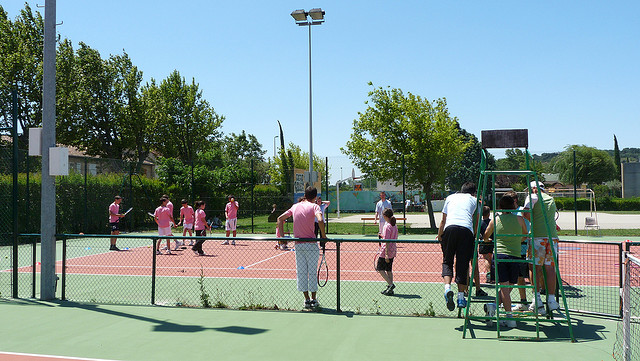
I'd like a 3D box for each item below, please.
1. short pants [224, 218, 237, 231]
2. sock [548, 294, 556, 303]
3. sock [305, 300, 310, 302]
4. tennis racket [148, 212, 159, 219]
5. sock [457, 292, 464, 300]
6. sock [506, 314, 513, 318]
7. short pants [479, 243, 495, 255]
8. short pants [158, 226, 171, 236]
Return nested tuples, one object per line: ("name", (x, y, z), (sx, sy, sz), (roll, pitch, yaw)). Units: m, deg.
("short pants", (-4.690, 2.361, 31.863), (0.697, 0.935, 0.512), (6, -12, -21))
("sock", (7.735, 3.959, 20.158), (0.268, 0.276, 0.066), (-2, 0, 19))
("sock", (-0.451, 4.217, 21.065), (0.158, 0.057, 0.050), (1, 12, 5))
("tennis racket", (-9.568, 2.014, 34.486), (0.658, 0.161, 0.645), (19, -8, 25))
("sock", (4.668, 3.831, 20.029), (0.130, 0.211, 0.222), (-2, -18, 12))
("sock", (6.206, 4.435, 19.730), (0.205, 0.078, 0.235), (1, 12, 6))
("short pants", (5.743, 2.368, 20.828), (0.503, 0.477, 0.454), (3, -7, -11))
("short pants", (-7.622, 2.482, 29.409), (0.687, 0.496, 0.394), (0, -9, -1))
